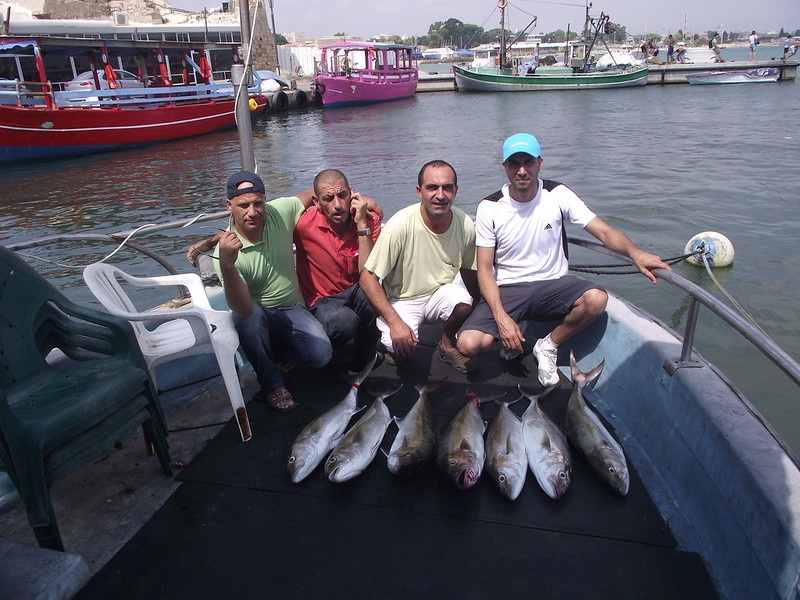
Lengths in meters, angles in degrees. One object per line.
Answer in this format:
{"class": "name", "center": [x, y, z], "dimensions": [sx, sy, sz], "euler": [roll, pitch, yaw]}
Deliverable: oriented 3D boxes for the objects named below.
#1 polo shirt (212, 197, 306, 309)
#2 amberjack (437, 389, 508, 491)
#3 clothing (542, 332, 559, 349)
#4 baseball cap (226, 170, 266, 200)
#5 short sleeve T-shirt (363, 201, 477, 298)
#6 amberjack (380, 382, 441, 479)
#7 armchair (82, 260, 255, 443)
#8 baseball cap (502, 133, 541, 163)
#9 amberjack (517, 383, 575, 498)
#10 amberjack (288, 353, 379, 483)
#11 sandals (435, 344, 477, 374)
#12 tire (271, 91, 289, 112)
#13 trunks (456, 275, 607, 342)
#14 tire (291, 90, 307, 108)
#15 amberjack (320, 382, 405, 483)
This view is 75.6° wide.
{"class": "polo shirt", "center": [-1.192, -0.373, 4.038], "dimensions": [0.803, 0.753, 0.439], "euler": [-25, 42, -25]}
{"class": "amberjack", "center": [0.662, 0.910, 3.648], "dimensions": [0.345, 0.363, 1.417], "euler": [-29, 6, 24]}
{"class": "clothing", "center": [1.535, 0.338, 4.265], "dimensions": [0.153, 0.092, 0.053], "euler": [29, -18, -24]}
{"class": "baseball cap", "center": [-1.300, -0.897, 3.977], "dimensions": [0.351, 0.222, 0.446], "euler": [-1, 11, -5]}
{"class": "short sleeve T-shirt", "center": [0.257, -0.407, 4.279], "dimensions": [0.917, 0.690, 0.354], "euler": [-1, 42, -22]}
{"class": "amberjack", "center": [0.176, 0.811, 3.394], "dimensions": [0.291, 0.165, 0.753], "euler": [6, 26, 5]}
{"class": "armchair", "center": [-1.889, 0.318, 3.846], "dimensions": [1.138, 1.299, 1.161], "euler": [-14, 23, -34]}
{"class": "baseball cap", "center": [1.255, -1.258, 4.195], "dimensions": [0.320, 0.204, 0.389], "euler": [6, 26, 19]}
{"class": "amberjack", "center": [1.146, 0.902, 3.436], "dimensions": [0.392, 0.282, 1.072], "euler": [3, 30, 5]}
{"class": "amberjack", "center": [-0.460, 0.822, 3.528], "dimensions": [0.218, 0.188, 0.971], "euler": [29, 30, 14]}
{"class": "sandals", "center": [0.643, 0.501, 4.416], "dimensions": [0.386, 0.160, 0.148], "euler": [21, 58, 33]}
{"class": "tire", "center": [-8.744, -13.134, 33.699], "dimensions": [0.504, 1.475, 1.575], "euler": [11, 20, 37]}
{"class": "trunks", "center": [1.393, -0.007, 4.136], "dimensions": [1.109, 0.282, 0.581], "euler": [-11, 15, 6]}
{"class": "tire", "center": [-7.563, -13.986, 35.452], "dimensions": [0.463, 1.311, 1.398], "euler": [10, 11, 29]}
{"class": "amberjack", "center": [-0.190, 0.881, 3.419], "dimensions": [0.386, 0.175, 0.975], "euler": [11, 24, 24]}
